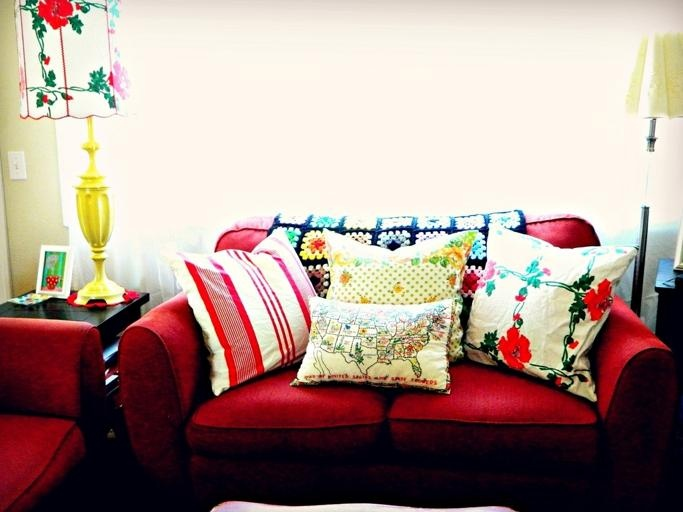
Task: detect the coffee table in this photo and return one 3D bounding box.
[{"bbox_3d":[-1.094,0.471,2.588,0.691,0.692,0.711,3,24,3],"label":"coffee table"}]
